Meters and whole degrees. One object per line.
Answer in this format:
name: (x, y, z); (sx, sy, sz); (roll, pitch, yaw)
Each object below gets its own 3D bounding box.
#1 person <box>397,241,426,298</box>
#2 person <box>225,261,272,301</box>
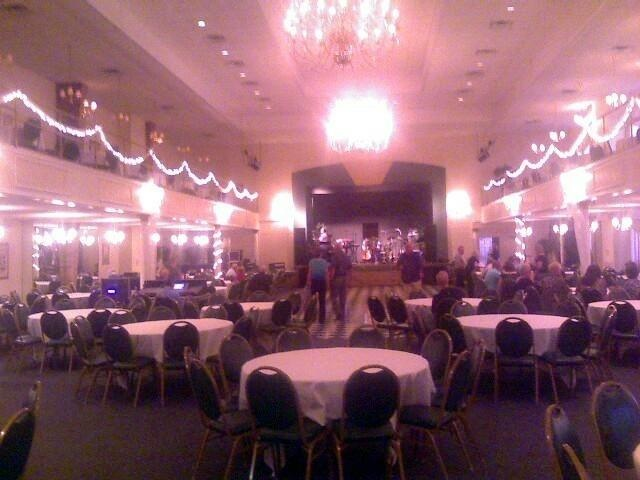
person: (2.291, 0.893, 11.885); (0.552, 1.829, 0.526); (-7, 27, 9)
person: (-2.103, 1.332, 14.306); (1.185, 0.782, 1.784); (-1, 3, 0)
